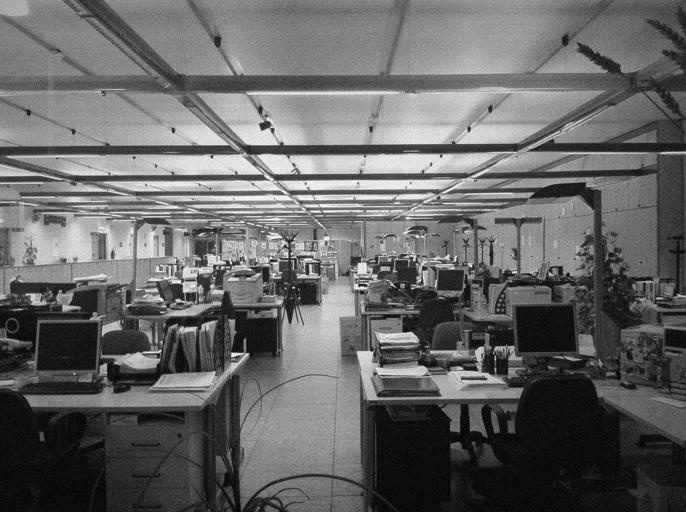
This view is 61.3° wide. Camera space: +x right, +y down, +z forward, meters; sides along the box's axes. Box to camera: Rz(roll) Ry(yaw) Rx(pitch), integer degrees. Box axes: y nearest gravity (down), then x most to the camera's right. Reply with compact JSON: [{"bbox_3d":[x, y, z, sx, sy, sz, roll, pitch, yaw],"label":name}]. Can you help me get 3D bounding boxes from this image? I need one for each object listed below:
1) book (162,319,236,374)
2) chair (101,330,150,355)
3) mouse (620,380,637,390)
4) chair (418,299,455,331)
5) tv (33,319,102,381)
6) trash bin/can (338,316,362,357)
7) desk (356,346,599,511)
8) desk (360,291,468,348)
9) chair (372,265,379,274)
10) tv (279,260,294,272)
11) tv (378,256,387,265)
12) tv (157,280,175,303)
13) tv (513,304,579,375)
[{"bbox_3d":[-1.312,0.843,5.313,0.643,0.285,0.841,0,-1,-8],"label":"book"},{"bbox_3d":[-2.283,0.905,6.104,0.307,0.415,0.357,2,-12,-14],"label":"chair"},{"bbox_3d":[2.527,1.131,5.125,0.062,0.030,0.102,4,4,2],"label":"mouse"},{"bbox_3d":[1.304,0.808,8.145,0.391,0.525,0.437,1,-2,0],"label":"chair"},{"bbox_3d":[-2.414,0.817,5.080,0.555,0.477,0.057,-1,-7,1],"label":"tv"},{"bbox_3d":[0.121,1.284,9.269,0.316,0.607,0.295,0,-2,-5],"label":"trash bin/can"},{"bbox_3d":[1.141,1.488,4.914,1.313,0.679,1.046,-1,-4,-3],"label":"desk"},{"bbox_3d":[1.077,0.970,9.183,1.664,0.854,0.924,-6,22,-5],"label":"desk"},{"bbox_3d":[0.954,0.356,16.206,0.190,0.336,0.197,1,-3,25],"label":"chair"},{"bbox_3d":[-1.562,0.263,16.049,0.368,0.310,0.197,0,-3,7],"label":"tv"},{"bbox_3d":[1.229,0.124,17.719,0.347,0.331,0.227,0,-8,-1],"label":"tv"},{"bbox_3d":[-2.902,0.577,9.250,0.090,0.337,0.368,-13,-4,12],"label":"tv"},{"bbox_3d":[1.879,0.759,5.367,0.641,0.637,0.225,0,-7,-4],"label":"tv"}]
